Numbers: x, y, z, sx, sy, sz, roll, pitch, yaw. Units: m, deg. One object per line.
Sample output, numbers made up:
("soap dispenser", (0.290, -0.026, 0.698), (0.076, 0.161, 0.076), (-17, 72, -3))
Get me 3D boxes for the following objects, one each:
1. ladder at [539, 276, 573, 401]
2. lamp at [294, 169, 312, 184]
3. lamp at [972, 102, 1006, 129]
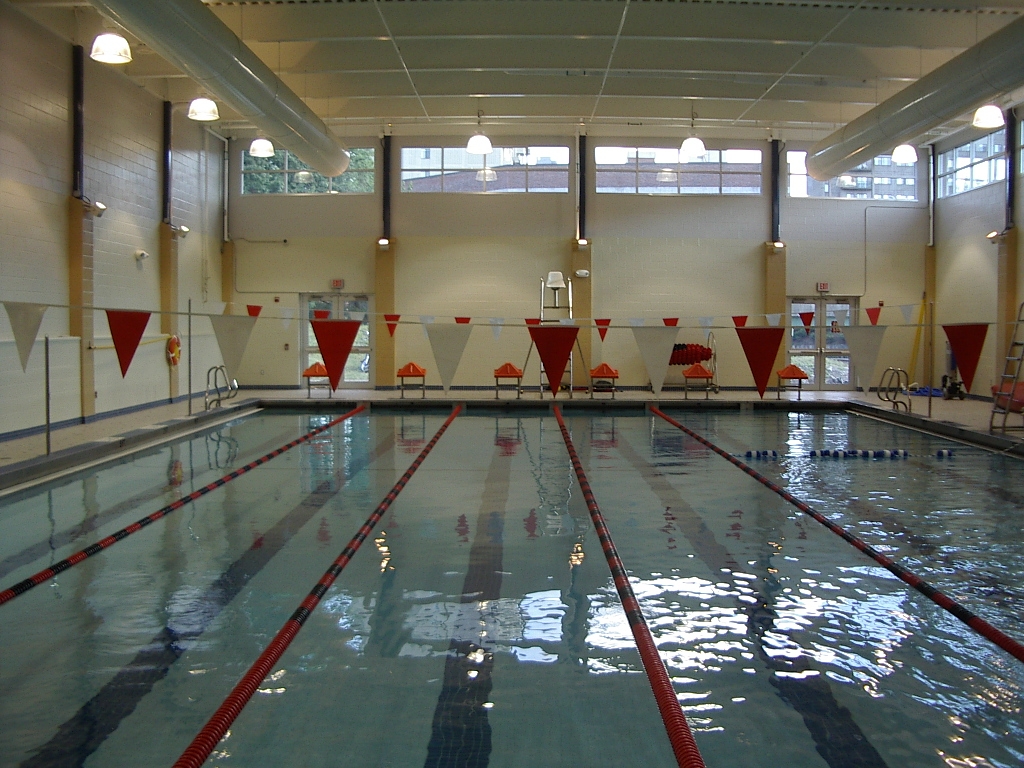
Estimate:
("ladder", (0.807, -1.047, 12.219), (0.583, 2.000, 0.856), (0, 9, 2))
("lamp", (-3.817, -3.819, 12.569), (0.275, 0.269, 0.083), (-3, 1, -4))
("lamp", (5.565, -3.155, 7.958), (0.337, 0.256, 0.197), (-3, 9, -21))
